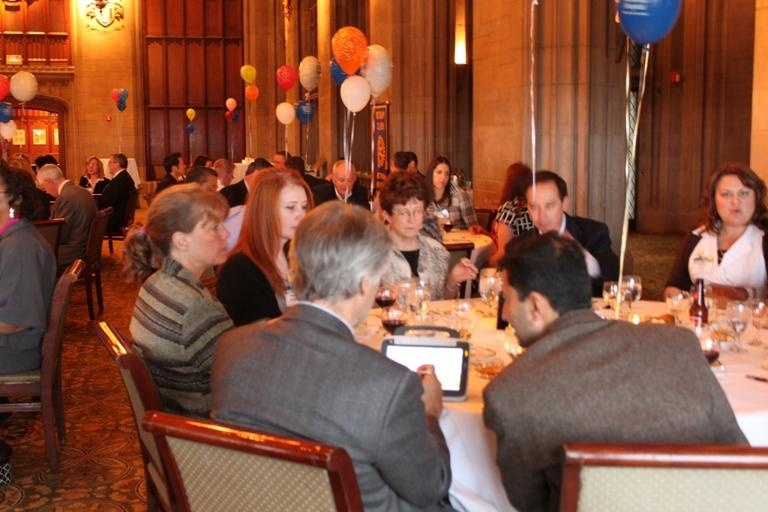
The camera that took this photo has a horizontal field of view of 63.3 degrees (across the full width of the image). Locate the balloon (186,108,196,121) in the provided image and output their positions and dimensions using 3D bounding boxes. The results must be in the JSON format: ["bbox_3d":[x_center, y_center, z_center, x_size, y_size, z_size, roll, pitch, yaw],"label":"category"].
[{"bbox_3d":[-5.714,-4.270,18.545,0.296,0.384,0.223,-6,-14,7],"label":"balloon"}]

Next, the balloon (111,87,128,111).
[{"bbox_3d":[-7.059,-4.229,16.768,0.275,0.545,1.101,-4,12,-17],"label":"balloon"}]

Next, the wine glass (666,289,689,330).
[{"bbox_3d":[1.370,0.249,2.912,0.084,0.206,0.093,-3,22,30],"label":"wine glass"}]

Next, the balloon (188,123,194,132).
[{"bbox_3d":[-5.787,-3.870,18.749,0.233,0.283,0.226,-1,2,-14],"label":"balloon"}]

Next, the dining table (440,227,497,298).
[{"bbox_3d":[0.643,0.056,4.734,0.291,0.567,0.710,4,25,13],"label":"dining table"}]
